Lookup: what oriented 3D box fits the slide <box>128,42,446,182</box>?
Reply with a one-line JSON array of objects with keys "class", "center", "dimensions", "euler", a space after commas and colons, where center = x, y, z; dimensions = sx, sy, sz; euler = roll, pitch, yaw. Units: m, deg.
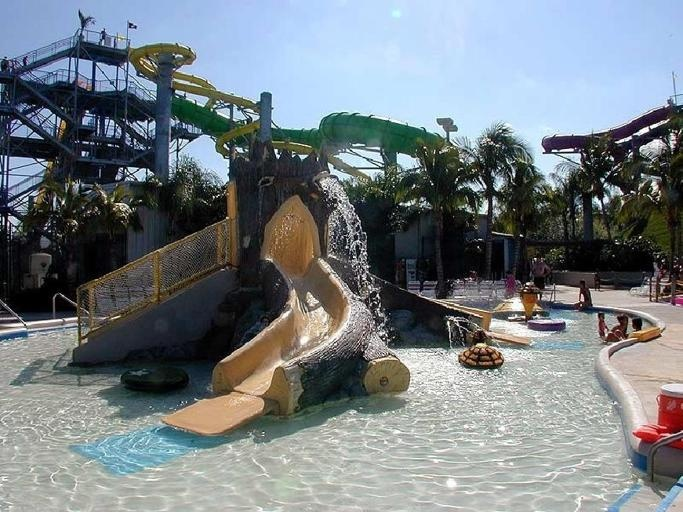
[{"class": "slide", "center": [-3.269, -7.026, 25.195], "dimensions": [13.214, 3.876, 9.942], "euler": [8, -10, -30]}]

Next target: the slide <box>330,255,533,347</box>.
[{"class": "slide", "center": [1.959, 1.082, 12.856], "dimensions": [5.172, 2.247, 0.546], "euler": [1, 19, 23]}]

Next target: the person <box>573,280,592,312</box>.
[{"class": "person", "center": [8.800, 1.308, 17.714], "dimensions": [0.487, 1.077, 2.704], "euler": [1, 3, 27]}]
